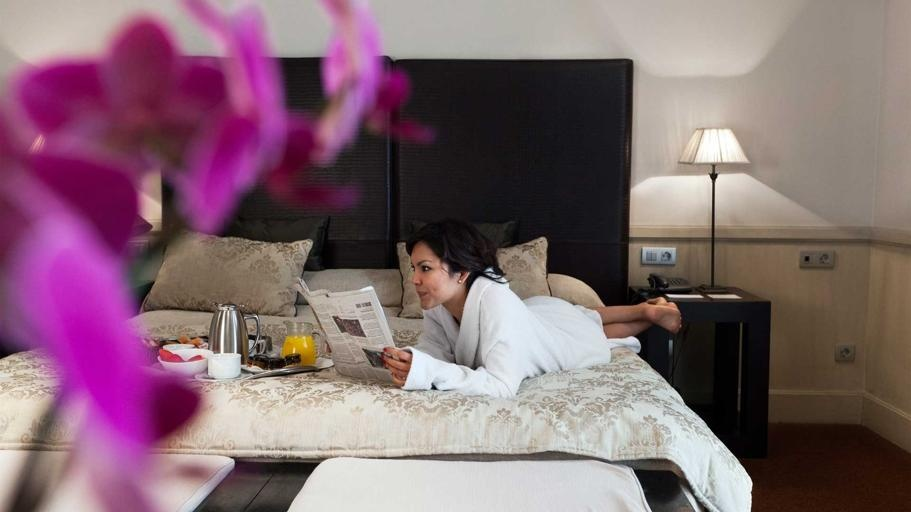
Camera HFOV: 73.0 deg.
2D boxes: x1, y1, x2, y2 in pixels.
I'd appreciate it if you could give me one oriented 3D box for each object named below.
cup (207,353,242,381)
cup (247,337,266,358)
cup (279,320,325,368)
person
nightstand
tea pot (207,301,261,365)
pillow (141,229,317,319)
[{"bbox_3d":[-0.541,0.258,1.443,0.063,0.050,0.081,1,-3,-24],"label":"cup"},{"bbox_3d":[-0.569,0.256,1.738,0.052,0.062,0.063,0,4,4],"label":"cup"},{"bbox_3d":[-0.423,0.242,1.758,0.144,0.130,0.098,9,-13,-44],"label":"cup"},{"bbox_3d":[0.238,0.153,1.888,1.055,0.417,0.362,0,0,-34],"label":"person"},{"bbox_3d":[0.938,0.487,2.792,0.689,0.693,0.675,0,8,5],"label":"nightstand"},{"bbox_3d":[-0.582,0.209,1.681,0.175,0.168,0.125,3,-2,-32],"label":"tea pot"},{"bbox_3d":[-0.564,0.067,1.631,0.318,0.097,0.320,10,30,-3],"label":"pillow"}]
